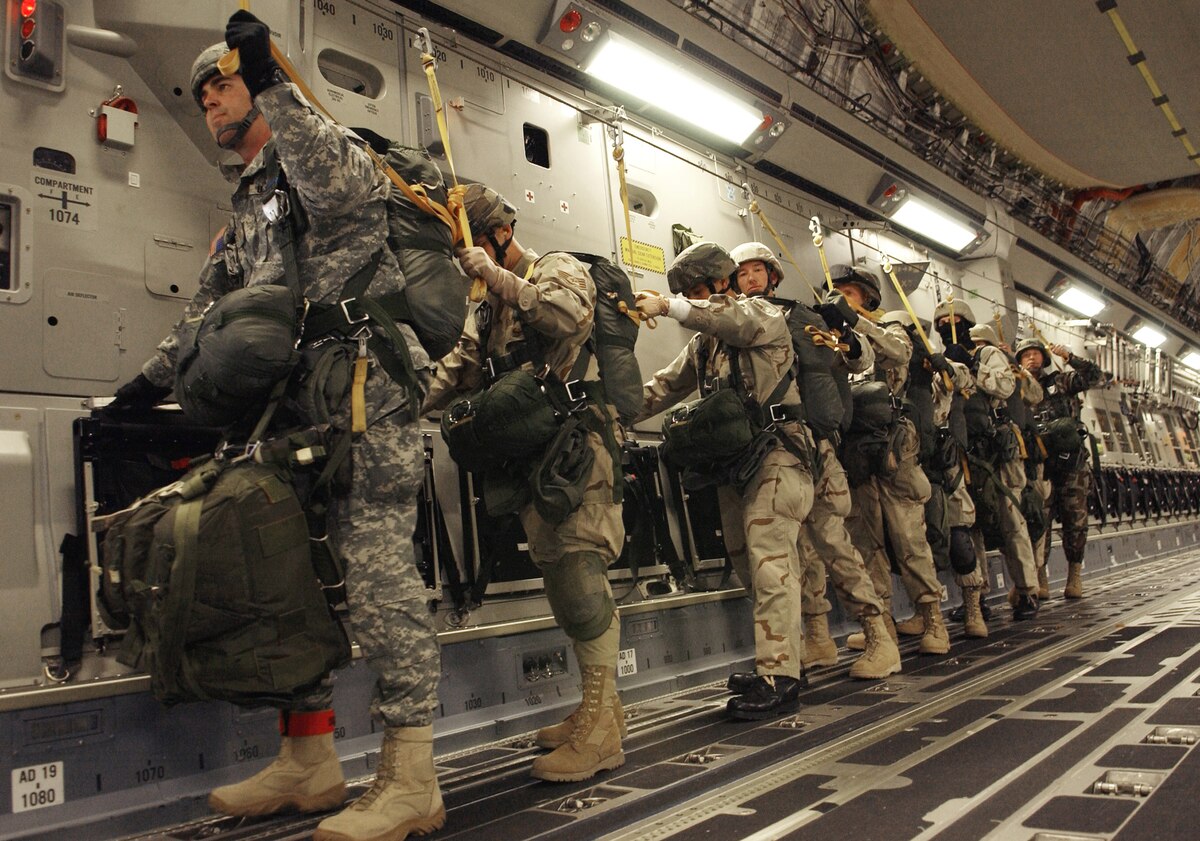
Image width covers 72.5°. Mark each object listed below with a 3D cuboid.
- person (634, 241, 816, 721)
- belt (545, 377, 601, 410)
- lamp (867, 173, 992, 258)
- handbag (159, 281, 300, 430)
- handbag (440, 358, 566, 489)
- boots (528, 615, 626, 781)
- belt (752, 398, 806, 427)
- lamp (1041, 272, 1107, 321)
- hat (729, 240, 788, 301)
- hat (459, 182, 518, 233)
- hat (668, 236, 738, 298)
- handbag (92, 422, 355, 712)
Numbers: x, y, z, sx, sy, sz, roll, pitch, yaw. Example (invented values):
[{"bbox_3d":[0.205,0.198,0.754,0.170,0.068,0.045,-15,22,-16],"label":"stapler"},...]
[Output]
[{"bbox_3d":[0.715,0.234,4.363,0.891,2.494,1.199,-5,-6,3],"label":"person"},{"bbox_3d":[-0.117,-0.118,3.613,0.188,0.073,0.136,16,19,27],"label":"belt"},{"bbox_3d":[3.557,-2.176,8.905,2.090,0.224,0.404,8,-55,-52],"label":"lamp"},{"bbox_3d":[-1.260,-0.195,3.050,0.392,0.553,0.302,-20,-41,32],"label":"handbag"},{"bbox_3d":[-0.492,-0.035,3.639,0.630,0.301,0.454,8,17,-11],"label":"handbag"},{"bbox_3d":[-0.097,1.172,3.540,0.396,0.602,0.472,-4,-6,-2],"label":"boots"},{"bbox_3d":[0.953,-0.044,4.479,0.205,0.097,0.147,-2,-4,-2],"label":"belt"},{"bbox_3d":[7.072,-1.892,12.326,1.142,0.120,0.324,16,-62,-47],"label":"lamp"},{"bbox_3d":[0.981,-0.911,4.881,0.293,0.362,0.387,-20,3,32],"label":"hat"},{"bbox_3d":[-0.511,-0.954,3.641,0.181,0.210,0.235,-46,3,-1],"label":"hat"},{"bbox_3d":[0.552,-0.842,4.684,0.363,0.324,0.279,-17,2,-13],"label":"hat"},{"bbox_3d":[-1.392,0.614,3.053,0.900,0.856,0.685,-9,1,37],"label":"handbag"}]
